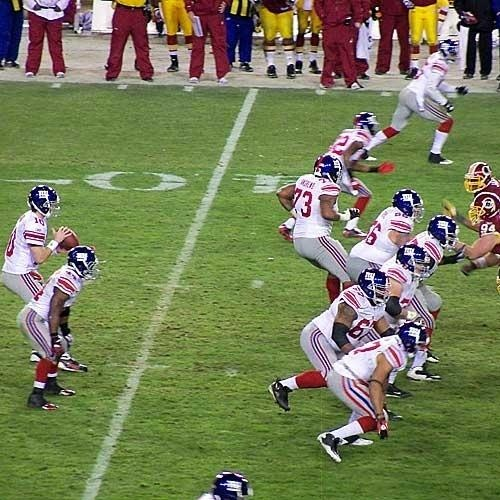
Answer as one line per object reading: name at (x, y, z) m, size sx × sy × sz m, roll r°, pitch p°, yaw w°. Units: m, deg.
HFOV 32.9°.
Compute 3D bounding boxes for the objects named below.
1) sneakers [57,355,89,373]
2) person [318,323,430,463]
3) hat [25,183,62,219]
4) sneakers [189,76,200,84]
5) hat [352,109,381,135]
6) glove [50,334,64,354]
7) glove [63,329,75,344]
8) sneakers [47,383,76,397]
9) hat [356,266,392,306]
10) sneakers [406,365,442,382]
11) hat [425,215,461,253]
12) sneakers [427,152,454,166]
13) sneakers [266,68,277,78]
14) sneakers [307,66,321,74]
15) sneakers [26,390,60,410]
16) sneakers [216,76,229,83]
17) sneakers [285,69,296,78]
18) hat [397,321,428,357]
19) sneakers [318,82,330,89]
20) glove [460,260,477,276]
sneakers at (-1.303, 0.863, 6.359) m, size 0.334 × 0.093 × 0.091 m, roll 8°, pitch 13°, yaw 0°
person at (0.704, 0.901, 5.165) m, size 0.585 × 0.900 × 0.468 m, roll 7°, pitch 14°, yaw 17°
hat at (-1.591, -0.366, 6.444) m, size 0.216 × 0.253 × 0.246 m, roll 0°, pitch 12°, yaw -13°
sneakers at (-1.012, -3.044, 15.018) m, size 0.208 × 0.130 × 0.401 m, roll 1°, pitch 7°, yaw -3°
hat at (1.237, -1.348, 8.847) m, size 0.421 × 0.240 × 0.258 m, roll -2°, pitch 13°, yaw -10°
glove at (-1.337, 0.645, 5.823) m, size 0.055 × 0.151 × 0.096 m, roll 7°, pitch 14°, yaw 16°
glove at (-1.375, 0.653, 6.326) m, size 0.121 × 0.084 × 0.073 m, roll 22°, pitch 16°, yaw -23°
sneakers at (-1.304, 0.992, 5.973) m, size 0.274 × 0.103 × 0.075 m, roll 0°, pitch 18°, yaw -4°
hat at (0.800, 0.250, 5.490) m, size 0.202 × 0.243 × 0.129 m, roll 5°, pitch 13°, yaw 12°
sneakers at (1.301, 0.939, 6.351) m, size 0.314 × 0.092 × 0.087 m, roll 1°, pitch 7°, yaw 10°
hat at (1.449, -0.124, 6.326) m, size 0.218 × 0.269 × 0.195 m, roll 5°, pitch 13°, yaw 9°
sneakers at (2.501, -1.194, 11.140) m, size 0.453 × 0.176 × 0.118 m, roll 0°, pitch 34°, yaw -2°
sneakers at (0.389, -3.272, 15.548) m, size 0.276 × 0.203 × 0.570 m, roll 1°, pitch 13°, yaw 3°
sneakers at (1.199, -3.431, 16.027) m, size 0.248 × 0.083 × 0.096 m, roll 20°, pitch 16°, yaw 16°
sneakers at (-1.420, 1.016, 5.832) m, size 0.200 × 0.151 × 0.185 m, roll 4°, pitch 11°, yaw 9°
sneakers at (-0.485, -3.056, 15.107) m, size 0.118 × 0.078 × 0.239 m, roll -5°, pitch 5°, yaw -13°
sneakers at (0.751, -3.277, 15.604) m, size 0.106 × 0.080 × 0.245 m, roll 0°, pitch 5°, yaw -12°
hat at (1.014, 0.542, 5.234) m, size 0.176 × 0.195 × 0.251 m, roll 8°, pitch 12°, yaw 23°
sneakers at (1.293, -2.870, 14.685) m, size 0.199 × 0.089 × 0.084 m, roll 2°, pitch 35°, yaw 5°
glove at (2.033, 0.166, 7.640) m, size 0.091 × 0.123 × 0.294 m, roll 47°, pitch 24°, yaw 12°
